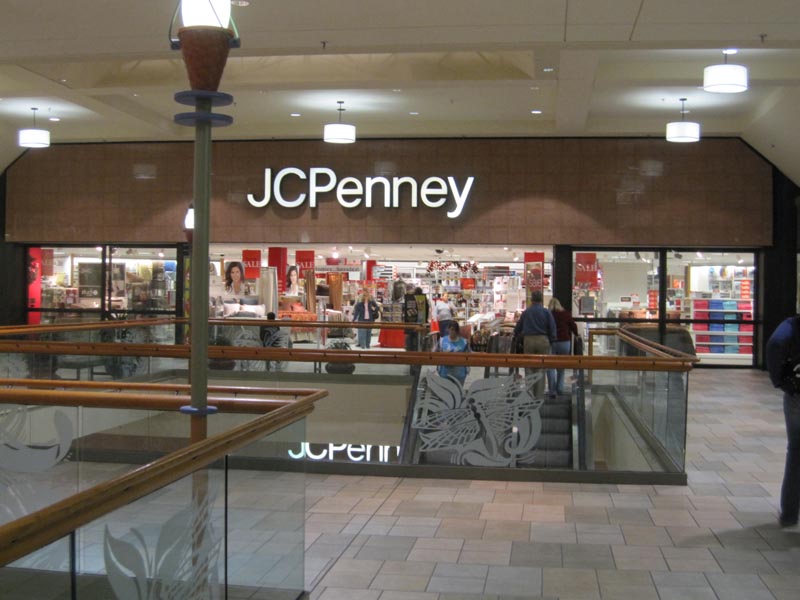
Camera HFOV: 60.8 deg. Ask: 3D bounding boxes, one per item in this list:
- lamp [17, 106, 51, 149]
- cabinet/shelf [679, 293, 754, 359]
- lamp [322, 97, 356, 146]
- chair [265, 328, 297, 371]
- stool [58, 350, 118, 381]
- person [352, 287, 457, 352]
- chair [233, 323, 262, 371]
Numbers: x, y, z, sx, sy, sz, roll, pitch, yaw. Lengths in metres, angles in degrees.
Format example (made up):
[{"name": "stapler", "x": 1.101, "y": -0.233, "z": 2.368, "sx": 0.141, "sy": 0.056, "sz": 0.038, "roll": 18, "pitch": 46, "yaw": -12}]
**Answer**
[{"name": "lamp", "x": -6.565, "y": -3.144, "z": 12.217, "sx": 0.624, "sy": 0.929, "sz": 0.636, "roll": -4, "pitch": 9, "yaw": -37}, {"name": "cabinet/shelf", "x": 6.074, "y": 0.407, "z": 13.033, "sx": 1.212, "sy": 1.170, "sz": 0.424, "roll": 1, "pitch": 1, "yaw": 1}, {"name": "lamp", "x": -0.978, "y": -2.963, "z": 11.345, "sx": 0.736, "sy": 0.853, "sz": 0.751, "roll": 0, "pitch": -3, "yaw": 1}, {"name": "chair", "x": -1.693, "y": 0.649, "z": 10.152, "sx": 0.666, "sy": 0.665, "sz": 0.405, "roll": 1, "pitch": 4, "yaw": -1}, {"name": "stool", "x": -3.412, "y": 0.685, "z": 7.445, "sx": 0.446, "sy": 0.225, "sz": 0.302, "roll": 1, "pitch": -3, "yaw": 9}, {"name": "person", "x": 0.365, "y": 0.309, "z": 12.667, "sx": 0.994, "sy": 0.899, "sz": 1.223, "roll": 2, "pitch": 2, "yaw": 28}, {"name": "chair", "x": -1.921, "y": 0.569, "z": 8.500, "sx": 0.178, "sy": 0.314, "sz": 0.306, "roll": -1, "pitch": 14, "yaw": 5}]
